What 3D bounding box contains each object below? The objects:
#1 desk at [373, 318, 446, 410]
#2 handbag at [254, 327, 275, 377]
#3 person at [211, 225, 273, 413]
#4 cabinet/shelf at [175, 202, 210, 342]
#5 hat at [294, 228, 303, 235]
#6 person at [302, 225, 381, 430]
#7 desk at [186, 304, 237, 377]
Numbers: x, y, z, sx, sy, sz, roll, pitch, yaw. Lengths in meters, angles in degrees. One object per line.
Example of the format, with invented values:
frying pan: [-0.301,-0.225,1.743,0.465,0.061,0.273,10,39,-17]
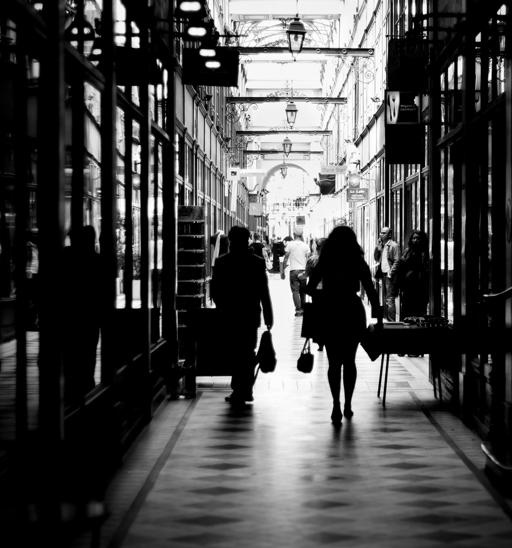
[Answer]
desk: [1.383,0.704,5.973,0.618,0.921,0.717,1,-4,0]
handbag: [0.111,0.730,6.081,0.172,0.421,0.075,4,6,32]
person: [-0.144,0.390,6.113,0.575,1.691,0.451,0,-2,-4]
cabinet/shelf: [-0.751,-0.034,7.381,0.360,1.887,1.432,0,5,1]
hat: [0.930,-0.979,14.114,0.112,0.131,0.150,1,-6,-18]
person: [0.745,0.408,5.468,0.620,1.655,0.429,0,-2,5]
desk: [-0.464,0.662,6.478,0.428,1.259,0.547,0,-6,-5]
